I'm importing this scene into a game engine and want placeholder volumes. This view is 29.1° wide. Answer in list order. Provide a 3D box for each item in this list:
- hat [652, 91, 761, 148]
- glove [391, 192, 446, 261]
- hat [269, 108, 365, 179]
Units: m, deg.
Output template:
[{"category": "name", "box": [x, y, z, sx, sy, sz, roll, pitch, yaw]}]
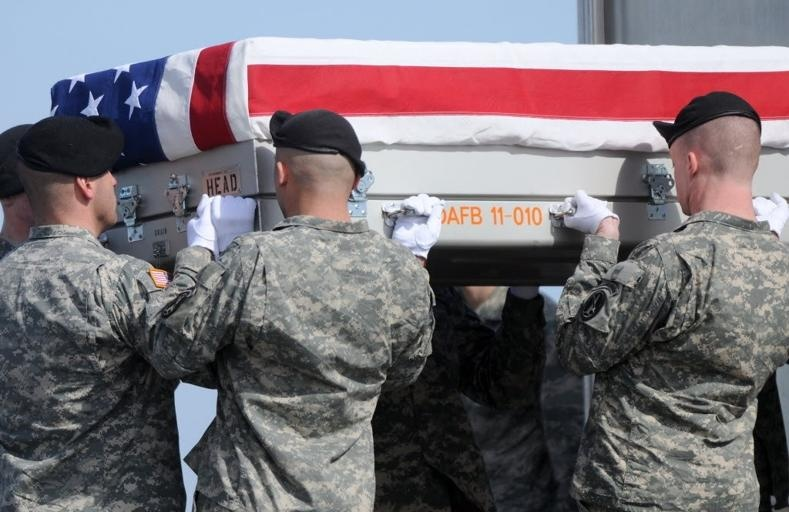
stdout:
[{"category": "hat", "box": [1.329, -0.577, 6.338, 0.417, 0.200, 0.462, -3, -9, -14]}, {"category": "glove", "box": [0.092, -0.125, 6.190, 0.228, 0.237, 0.100, 4, 8, 1]}, {"category": "hat", "box": [-0.319, -0.436, 6.012, 0.310, 0.165, 0.223, 3, 16, -33]}]
